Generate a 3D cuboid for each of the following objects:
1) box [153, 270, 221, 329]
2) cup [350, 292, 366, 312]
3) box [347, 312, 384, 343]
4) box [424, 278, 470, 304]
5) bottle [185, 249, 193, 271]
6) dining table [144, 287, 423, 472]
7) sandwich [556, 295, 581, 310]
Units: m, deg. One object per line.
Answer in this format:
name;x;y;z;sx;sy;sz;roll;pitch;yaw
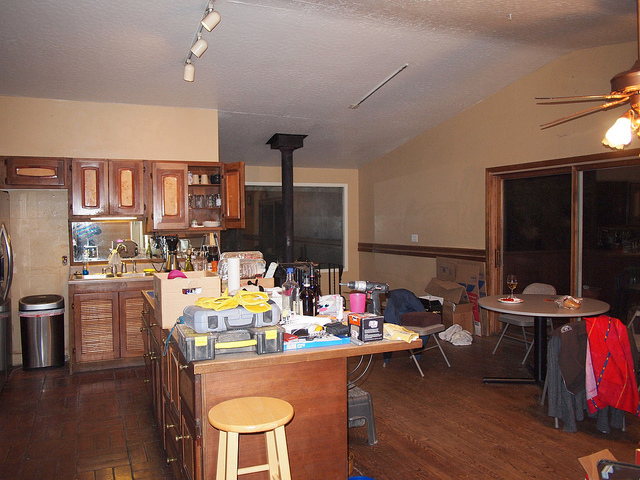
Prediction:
box;-0.997;0.401;3.605;0.441;0.283;0.418;-2;6;-27
cup;0.265;0.432;3.406;0.124;0.137;0.123;1;-3;0
box;0.303;0.558;3.189;0.186;0.150;0.184;0;1;-41
box;1.917;0.737;7.256;0.270;0.228;0.677;-5;6;-27
bottle;-1.496;0.221;5.447;0.070;0.218;0.194;-3;9;-15
dining table;-0.392;0.398;3.411;1.211;1.104;2.234;-3;7;-26
sandwich;2.469;0.615;4.780;0.209;0.075;0.323;4;9;28
